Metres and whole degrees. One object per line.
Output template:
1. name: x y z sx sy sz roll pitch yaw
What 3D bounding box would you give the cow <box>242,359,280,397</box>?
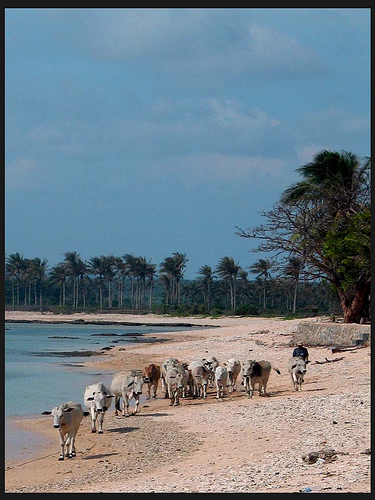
1. cow: 2.216 3.799 23.090 0.501 1.085 2.414 -1 -2 31

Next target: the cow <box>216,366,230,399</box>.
1. cow: 1.084 4.115 23.814 0.442 0.930 1.225 -2 -5 2

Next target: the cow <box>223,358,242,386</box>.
1. cow: 1.393 3.700 23.875 0.388 0.535 1.069 -4 -21 3

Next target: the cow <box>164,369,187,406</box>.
1. cow: -0.488 4.092 23.158 0.510 0.947 1.762 3 -2 -15

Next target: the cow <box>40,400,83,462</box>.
1. cow: -2.551 3.744 16.033 0.711 1.114 1.933 -6 -8 2

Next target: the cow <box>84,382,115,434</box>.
1. cow: -2.180 3.775 18.507 0.664 1.062 2.060 0 -6 -8

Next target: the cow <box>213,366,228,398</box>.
1. cow: 1.033 4.106 23.751 0.392 0.921 1.090 -2 -5 1

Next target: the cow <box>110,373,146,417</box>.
1. cow: -1.661 4.016 21.303 0.673 1.146 1.367 1 -6 -24

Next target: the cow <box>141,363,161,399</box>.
1. cow: -1.000 4.297 25.092 0.443 0.776 1.515 20 -10 -24
